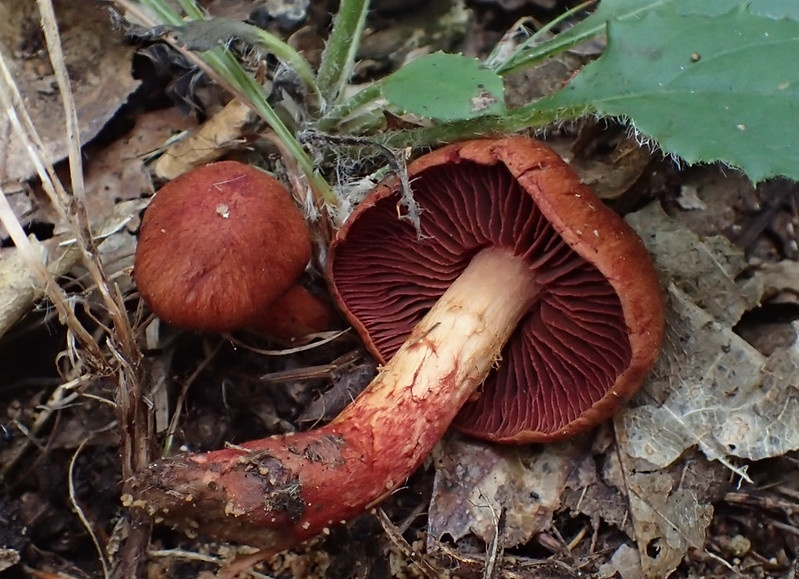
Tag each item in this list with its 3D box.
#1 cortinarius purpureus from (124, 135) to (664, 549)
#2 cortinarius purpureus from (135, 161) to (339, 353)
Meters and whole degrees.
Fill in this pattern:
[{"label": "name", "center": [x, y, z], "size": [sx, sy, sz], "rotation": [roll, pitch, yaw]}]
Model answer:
[{"label": "cortinarius purpureus", "center": [0.029, 0.264, 2.683], "size": [1.875, 0.800, 1.095], "rotation": [-39, 69, -15]}, {"label": "cortinarius purpureus", "center": [-0.613, -0.143, 2.646], "size": [0.606, 0.472, 0.383], "rotation": [-10, 36, -14]}]
